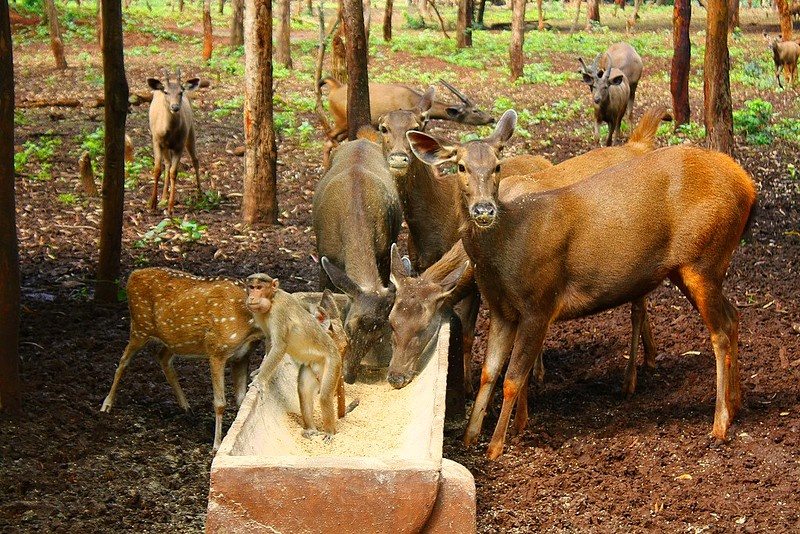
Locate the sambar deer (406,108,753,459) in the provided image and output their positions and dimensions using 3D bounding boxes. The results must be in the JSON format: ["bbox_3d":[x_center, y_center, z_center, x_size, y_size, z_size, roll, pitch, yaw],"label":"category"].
[{"bbox_3d":[2.201,0.256,14.528,4.305,4.053,1.972,-9,16,-21],"label":"sambar deer"}]

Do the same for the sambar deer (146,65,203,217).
[{"bbox_3d":[-3.706,-2.117,20.314,0.876,2.430,3.164,2,9,-7],"label":"sambar deer"}]

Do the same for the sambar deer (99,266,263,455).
[{"bbox_3d":[-2.092,0.900,14.095,2.710,2.368,0.693,9,19,17],"label":"sambar deer"}]

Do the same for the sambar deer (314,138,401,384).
[{"bbox_3d":[0.105,-0.345,14.903,1.248,2.744,2.693,2,-1,-1],"label":"sambar deer"}]
